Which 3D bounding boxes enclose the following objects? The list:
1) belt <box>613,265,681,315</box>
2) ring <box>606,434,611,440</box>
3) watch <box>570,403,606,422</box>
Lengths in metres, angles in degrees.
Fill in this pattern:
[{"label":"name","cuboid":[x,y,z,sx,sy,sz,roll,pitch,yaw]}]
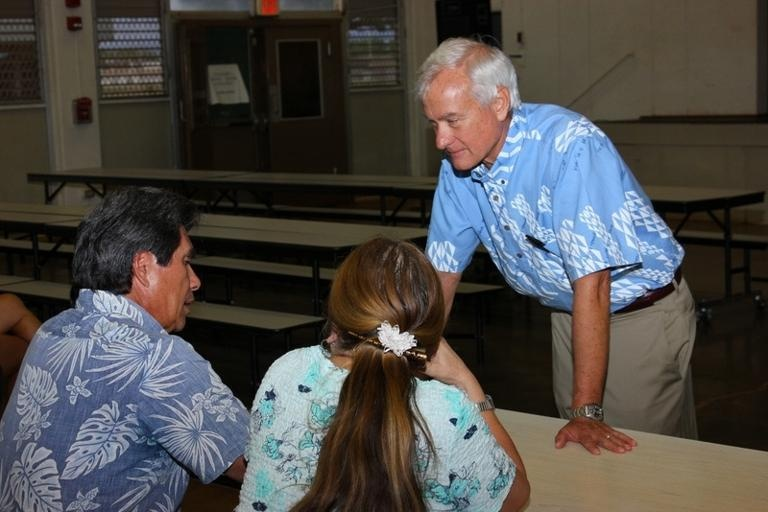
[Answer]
[{"label":"belt","cuboid":[0.865,0.090,2.374,0.152,0.040,0.163,-35,-2,8]},{"label":"ring","cuboid":[0.615,0.494,1.982,0.011,0.011,0.003,-1,-17,10]},{"label":"watch","cuboid":[0.585,0.445,2.061,0.070,0.053,0.076,7,-16,2]}]
